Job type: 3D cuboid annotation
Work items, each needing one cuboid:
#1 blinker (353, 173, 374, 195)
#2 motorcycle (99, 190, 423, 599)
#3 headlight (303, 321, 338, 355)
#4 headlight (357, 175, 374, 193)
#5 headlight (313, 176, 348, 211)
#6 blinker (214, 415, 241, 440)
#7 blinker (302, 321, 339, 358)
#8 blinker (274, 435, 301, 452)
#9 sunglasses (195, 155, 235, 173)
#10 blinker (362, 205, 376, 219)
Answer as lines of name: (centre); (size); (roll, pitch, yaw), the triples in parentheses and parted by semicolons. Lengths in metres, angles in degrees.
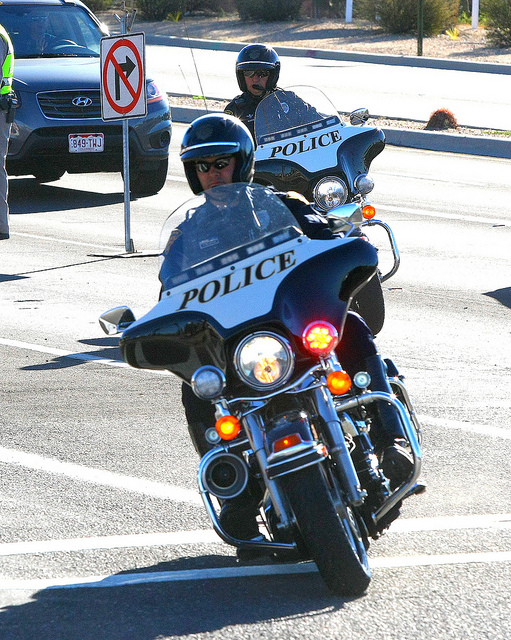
blinker: (0.871, -1.096, 7.279); (0.180, 0.144, 0.054); (-1, 1, -7)
motorcycle: (0.121, 0.243, 3.347); (0.993, 1.417, 0.940); (7, 17, 38)
headlight: (0.227, 0.061, 3.028); (0.126, 0.112, 0.066); (-13, 16, -36)
headlight: (0.903, -1.088, 7.262); (0.123, 0.137, 0.128); (6, 16, 36)
headlight: (0.578, -0.963, 6.899); (0.312, 0.208, 0.181); (-14, 17, -42)
blinker: (-0.092, 0.366, 3.062); (0.080, 0.100, 0.073); (-4, 13, -1)
blinker: (0.217, 0.068, 2.993); (0.134, 0.108, 0.041); (-1, 1, -6)
blinker: (0.107, 0.391, 2.861); (0.082, 0.009, 0.050); (-15, 26, 4)
sunglasses: (-0.165, -0.645, 3.736); (0.161, 0.067, 0.063); (-3, 13, 0)
blinker: (0.801, -0.749, 6.280); (0.107, 0.087, 0.033); (-2, 3, 22)
